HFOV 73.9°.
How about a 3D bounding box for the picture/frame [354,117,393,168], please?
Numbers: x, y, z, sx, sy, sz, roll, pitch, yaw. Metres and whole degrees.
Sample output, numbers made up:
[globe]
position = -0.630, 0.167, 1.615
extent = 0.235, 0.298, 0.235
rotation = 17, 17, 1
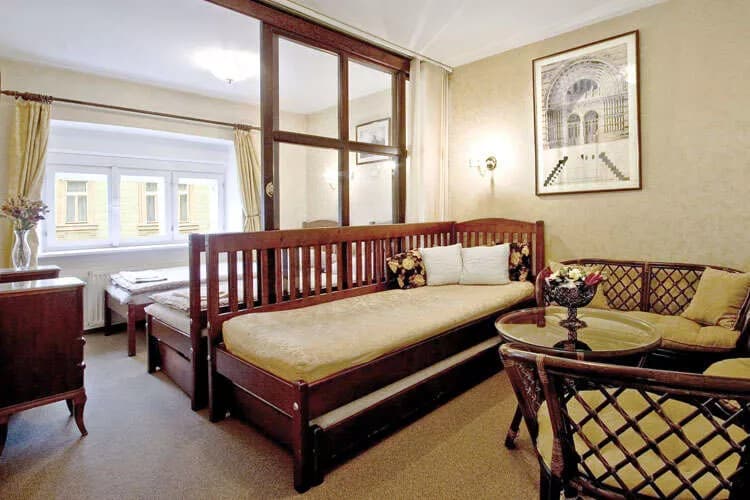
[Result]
[picture/frame]
position = -0.038, -1.151, 5.308
extent = 0.040, 0.547, 0.598
rotation = 1, 4, 42
